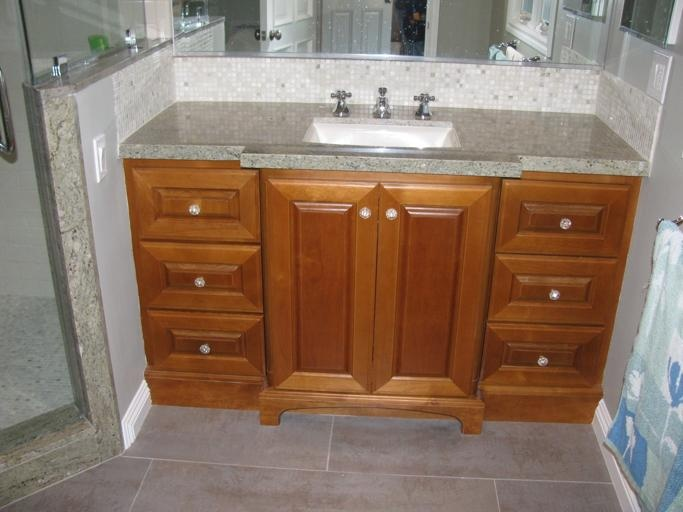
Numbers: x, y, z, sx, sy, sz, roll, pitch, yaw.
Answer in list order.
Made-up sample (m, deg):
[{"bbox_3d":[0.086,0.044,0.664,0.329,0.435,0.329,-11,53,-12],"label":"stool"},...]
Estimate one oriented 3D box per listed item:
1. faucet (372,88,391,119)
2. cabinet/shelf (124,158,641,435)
[{"bbox_3d":[0.171,-0.659,2.472,0.080,0.113,0.179,2,24,3],"label":"faucet"},{"bbox_3d":[0.134,0.141,2.440,1.928,1.146,0.580,2,14,1],"label":"cabinet/shelf"}]
